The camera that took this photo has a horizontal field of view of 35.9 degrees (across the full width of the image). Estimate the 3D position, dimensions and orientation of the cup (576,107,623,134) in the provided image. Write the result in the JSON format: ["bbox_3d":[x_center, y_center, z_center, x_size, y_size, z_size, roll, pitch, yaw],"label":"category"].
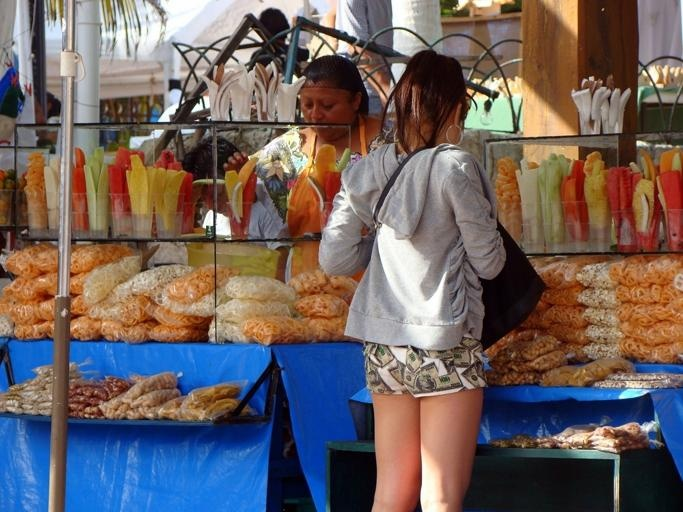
[{"bbox_3d":[1.234,-0.632,4.963,0.139,0.115,0.129,-1,3,0],"label":"cup"}]
